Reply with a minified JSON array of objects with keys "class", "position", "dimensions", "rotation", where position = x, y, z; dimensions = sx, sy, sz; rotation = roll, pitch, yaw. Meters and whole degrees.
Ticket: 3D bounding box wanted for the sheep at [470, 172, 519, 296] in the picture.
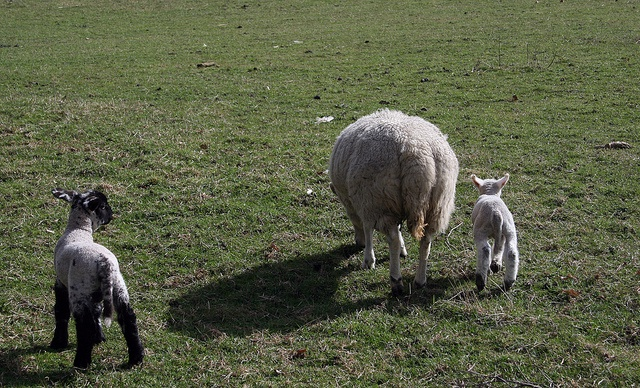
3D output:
[{"class":"sheep","position":[4.833,1.014,19.669],"dimensions":[1.267,2.947,1.618],"rotation":[3,21,8]}]
